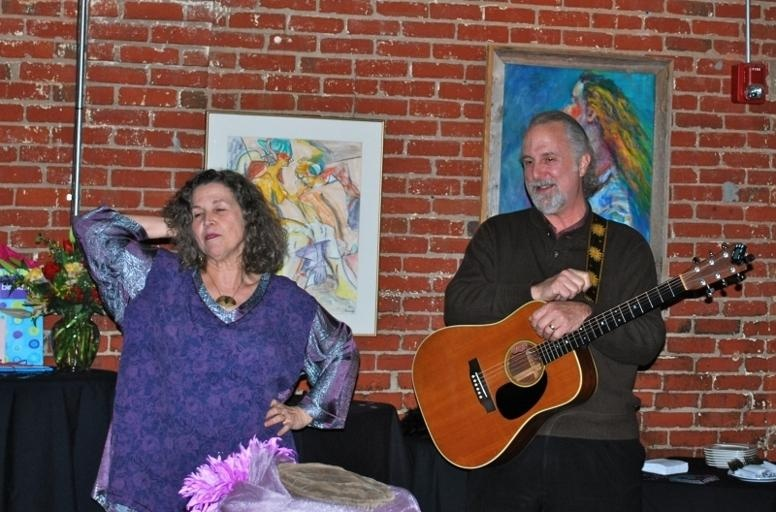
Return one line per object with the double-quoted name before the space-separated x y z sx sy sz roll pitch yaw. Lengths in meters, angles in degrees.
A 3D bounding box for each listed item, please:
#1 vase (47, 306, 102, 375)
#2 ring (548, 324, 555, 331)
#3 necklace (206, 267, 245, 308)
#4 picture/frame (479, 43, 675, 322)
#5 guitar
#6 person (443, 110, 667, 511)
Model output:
"vase" -1.815 0.427 7.690 0.278 0.417 0.287 8 24 -2
"ring" 0.866 0.382 7.031 0.027 0.029 0.007 -13 -14 26
"necklace" -0.846 0.172 6.836 0.123 0.155 0.041 -3 -31 -14
"picture/frame" 1.126 -0.578 7.874 1.067 1.457 0.051 3 -28 -3
"guitar" 0.862 0.550 7.129 2.116 0.926 0.321 -28 -21 17
"person" 0.927 0.300 7.210 1.090 2.218 0.436 2 -2 0
